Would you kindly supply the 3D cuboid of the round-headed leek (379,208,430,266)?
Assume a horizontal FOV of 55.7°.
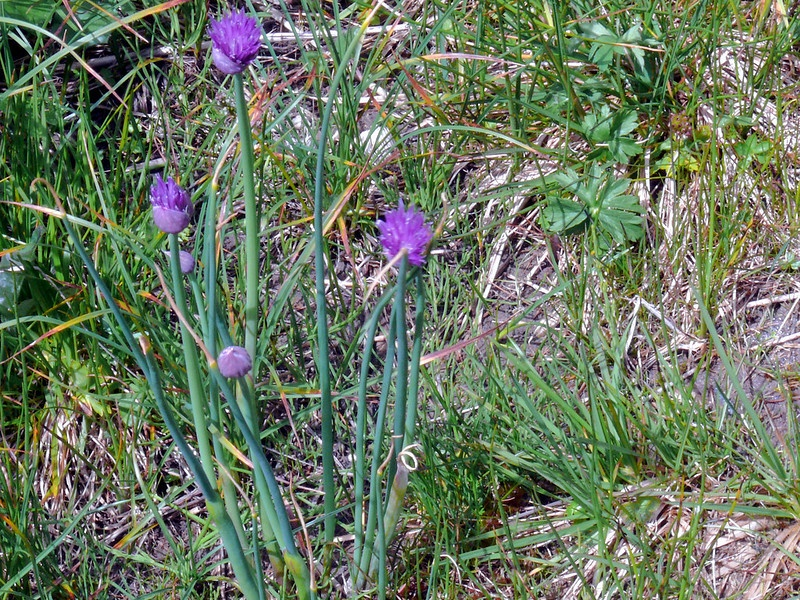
[{"bbox_3d":[0.007,-0.116,1.309,0.075,0.053,0.102,5,97,-7],"label":"round-headed leek"}]
